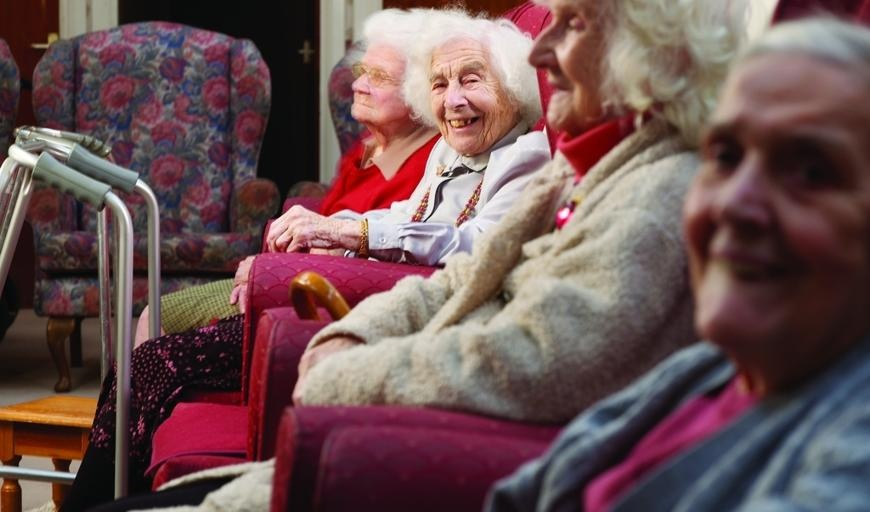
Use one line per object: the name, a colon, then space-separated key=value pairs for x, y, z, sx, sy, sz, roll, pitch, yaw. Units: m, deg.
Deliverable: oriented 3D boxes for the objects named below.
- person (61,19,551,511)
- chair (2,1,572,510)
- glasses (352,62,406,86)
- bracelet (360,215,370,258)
person: x=-0.253 y=0.044 z=2.373 sx=0.920 sy=1.333 sz=0.933 roll=3 pitch=-3 yaw=-2
chair: x=-0.310 y=0.036 z=2.313 sx=0.962 sy=1.353 sz=0.945 roll=4 pitch=-5 yaw=-8
glasses: x=-0.160 y=-0.464 z=2.398 sx=0.089 sy=0.032 sz=0.087 roll=17 pitch=8 yaw=-43
bracelet: x=-0.151 y=-0.035 z=1.988 sx=0.016 sy=0.057 sz=0.048 roll=6 pitch=-14 yaw=-5
